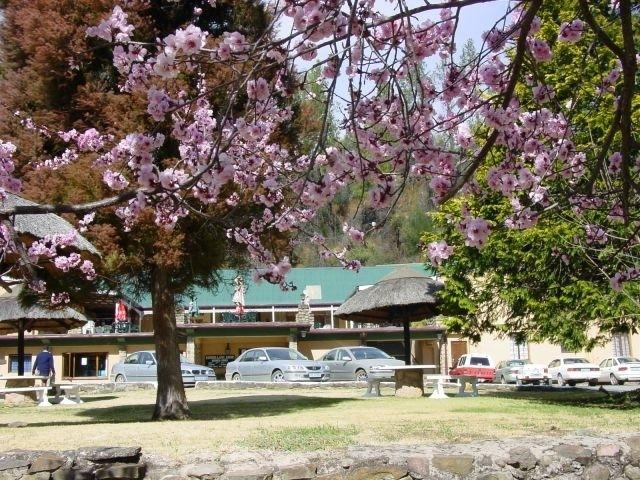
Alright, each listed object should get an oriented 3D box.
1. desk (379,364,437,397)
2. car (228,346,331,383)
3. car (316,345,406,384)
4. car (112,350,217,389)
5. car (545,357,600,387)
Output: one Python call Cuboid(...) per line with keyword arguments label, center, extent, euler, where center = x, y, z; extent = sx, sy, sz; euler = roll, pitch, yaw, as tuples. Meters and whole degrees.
Cuboid(label="desk", center=(2.519, 3.879, 20.709), extent=(0.943, 0.675, 1.038), euler=(2, -14, -1))
Cuboid(label="car", center=(-1.662, 4.556, 27.265), extent=(1.709, 1.400, 4.204), euler=(8, -16, -40))
Cuboid(label="car", center=(1.484, 4.478, 27.047), extent=(1.310, 1.029, 2.965), euler=(7, -16, -33))
Cuboid(label="car", center=(-6.682, 5.218, 30.149), extent=(4.593, 1.571, 1.826), euler=(-7, -13, 23))
Cuboid(label="car", center=(10.166, 5.282, 29.957), extent=(1.089, 1.095, 2.469), euler=(1, -13, -12))
